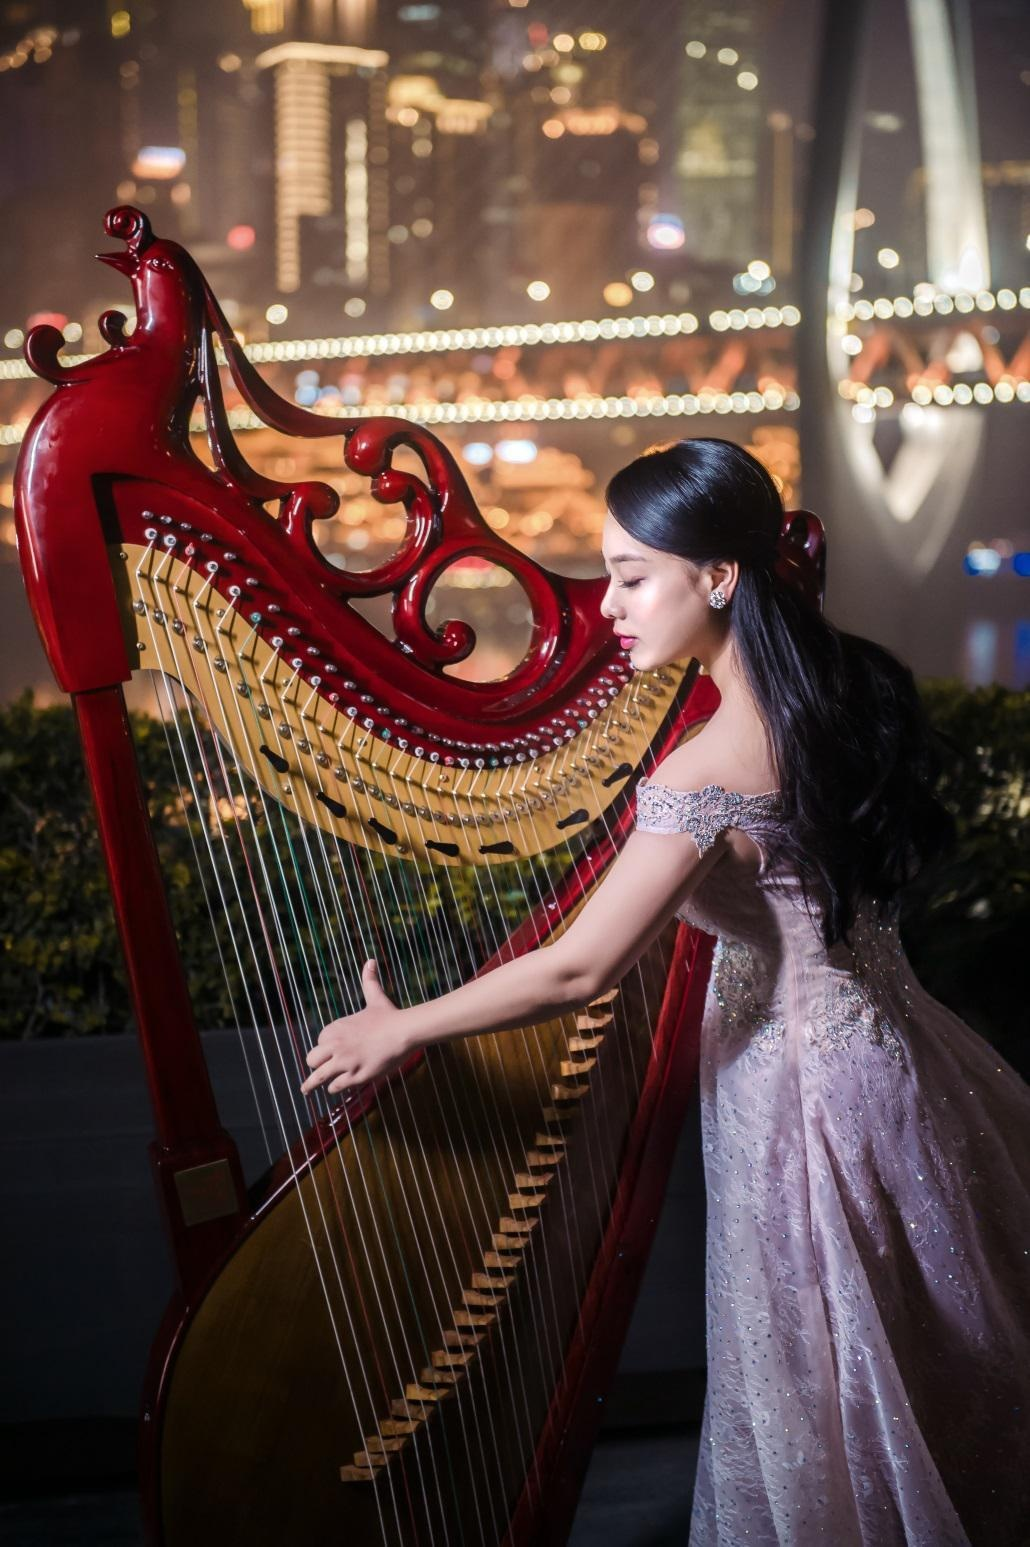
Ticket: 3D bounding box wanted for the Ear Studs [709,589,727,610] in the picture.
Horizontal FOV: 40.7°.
[{"bbox_3d":[0.194,-0.167,1.326,0.016,0.018,0.005,-18,25,-16],"label":"Ear Studs"}]
